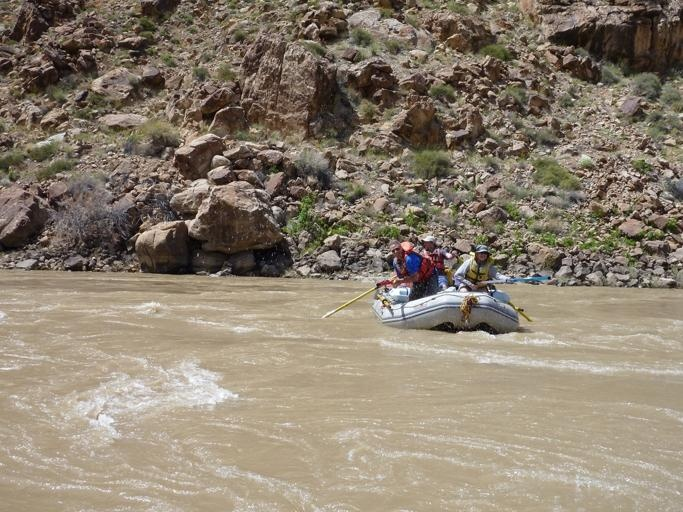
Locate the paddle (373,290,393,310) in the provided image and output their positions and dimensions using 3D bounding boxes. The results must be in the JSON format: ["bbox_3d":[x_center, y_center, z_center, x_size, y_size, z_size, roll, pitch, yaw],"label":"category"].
[{"bbox_3d":[1.398,1.575,39.577,0.202,0.209,0.980,39,9,-25],"label":"paddle"}]

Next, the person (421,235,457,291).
[{"bbox_3d":[3.185,0.290,39.545,0.948,2.101,1.049,-3,5,-8],"label":"person"}]
